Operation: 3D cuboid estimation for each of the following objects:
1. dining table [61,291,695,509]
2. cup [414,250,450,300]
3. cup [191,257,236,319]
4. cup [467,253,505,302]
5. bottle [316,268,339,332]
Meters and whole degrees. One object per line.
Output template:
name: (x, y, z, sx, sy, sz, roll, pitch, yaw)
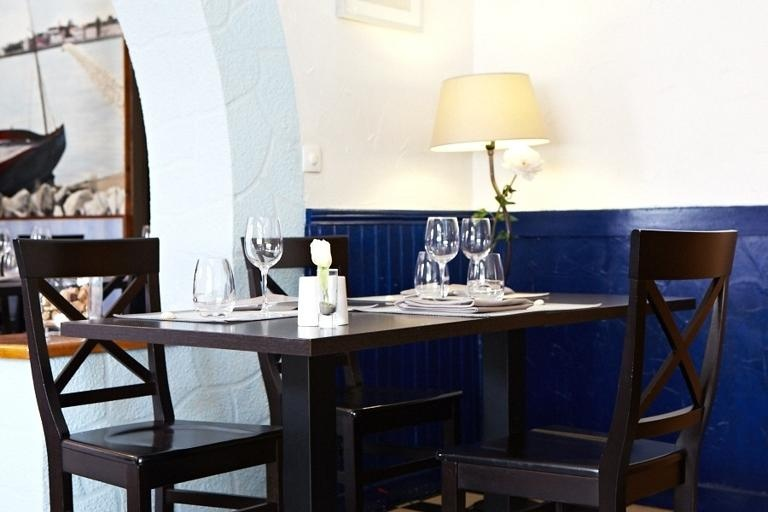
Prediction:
dining table: (0.005, 0.461, 2.470, 1.730, 0.590, 0.684, -1, 5, -32)
cup: (0.183, 0.065, 2.607, 0.134, 0.212, 0.146, -2, -1, 0)
cup: (-0.548, 0.100, 2.334, 0.164, 0.241, 0.161, -2, 3, 0)
cup: (0.378, 0.091, 2.602, 0.124, 0.180, 0.120, 2, -11, 0)
bottle: (-0.172, 0.137, 2.210, 0.068, 0.177, 0.067, 0, -9, 0)
